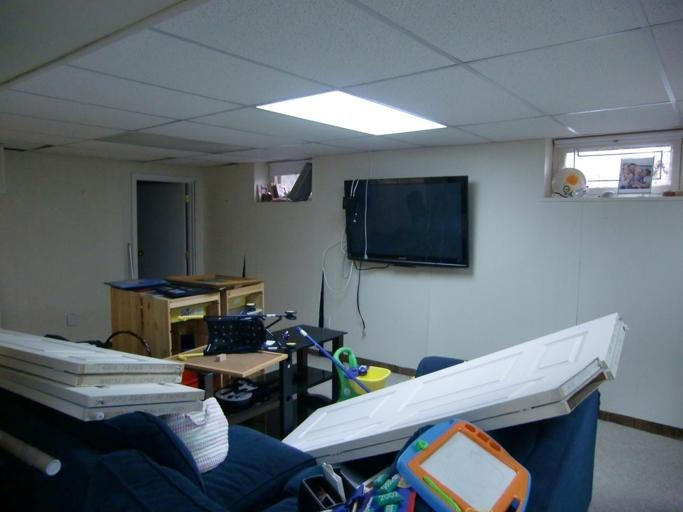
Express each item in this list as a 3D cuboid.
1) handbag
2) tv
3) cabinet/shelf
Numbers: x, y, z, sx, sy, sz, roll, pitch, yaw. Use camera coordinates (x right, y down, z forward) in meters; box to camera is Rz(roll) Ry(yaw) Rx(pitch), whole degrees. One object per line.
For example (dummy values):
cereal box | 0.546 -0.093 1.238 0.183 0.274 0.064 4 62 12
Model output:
handbag | -0.749 0.912 2.630 0.110 0.340 0.353 -17 20 8
tv | 0.670 -0.335 4.958 0.902 0.626 0.068 2 7 35
cabinet/shelf | -0.870 0.567 4.475 1.399 1.179 1.435 3 5 37
